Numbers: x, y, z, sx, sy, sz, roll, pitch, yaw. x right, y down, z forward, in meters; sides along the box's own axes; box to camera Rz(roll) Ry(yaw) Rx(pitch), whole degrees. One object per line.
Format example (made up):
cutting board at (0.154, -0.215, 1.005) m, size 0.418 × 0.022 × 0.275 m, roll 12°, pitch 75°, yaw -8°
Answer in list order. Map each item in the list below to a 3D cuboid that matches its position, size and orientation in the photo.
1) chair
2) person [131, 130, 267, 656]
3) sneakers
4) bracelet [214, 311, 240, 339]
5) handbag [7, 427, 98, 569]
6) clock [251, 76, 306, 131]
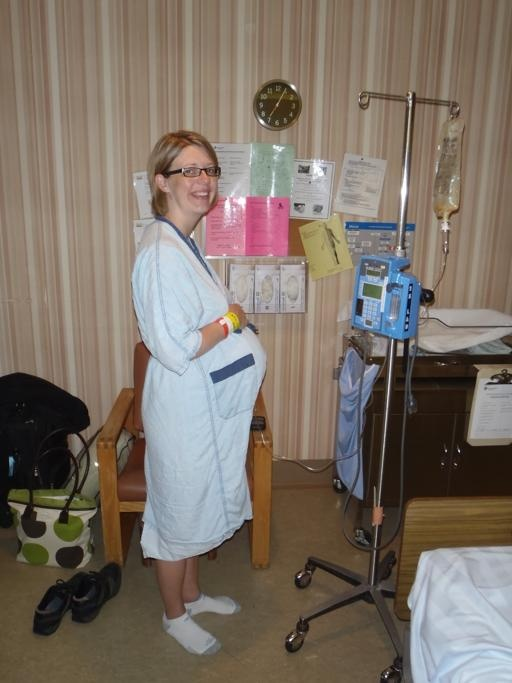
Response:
chair at (-0.326, 0.421, 2.420) m, size 0.620 × 0.744 × 0.817 m, roll -2°, pitch 12°, yaw 0°
person at (-0.159, 0.316, 1.671) m, size 0.381 × 1.339 × 0.346 m, roll -4°, pitch 14°, yaw -20°
sneakers at (-0.615, 0.876, 1.927) m, size 0.131 × 0.071 × 0.211 m, roll -5°, pitch 12°, yaw 8°
bracelet at (-0.076, -0.049, 1.570) m, size 0.050 × 0.064 × 0.067 m, roll 20°, pitch 43°, yaw 11°
handbag at (-0.835, 0.643, 2.249) m, size 0.462 × 0.639 × 0.220 m, roll -1°, pitch -6°, yaw 0°
clock at (0.091, -1.045, 2.440) m, size 0.208 × 0.220 × 0.030 m, roll 0°, pitch 10°, yaw -5°
